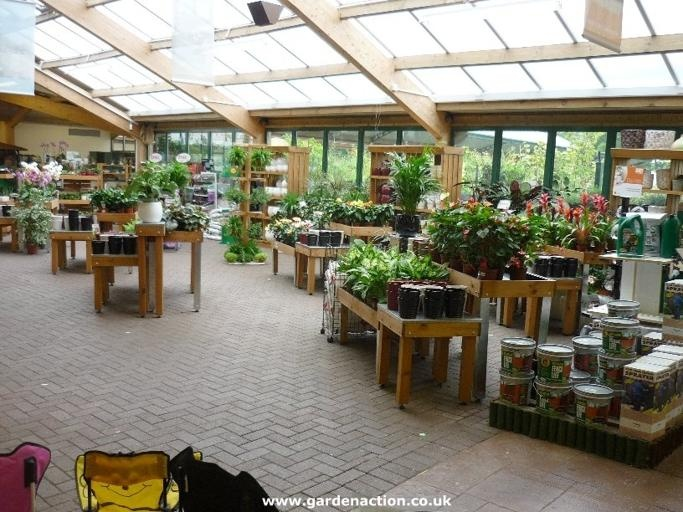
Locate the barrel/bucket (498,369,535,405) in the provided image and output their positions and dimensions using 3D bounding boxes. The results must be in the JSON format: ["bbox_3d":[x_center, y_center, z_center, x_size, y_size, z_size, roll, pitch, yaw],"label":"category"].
[{"bbox_3d":[1.420,1.084,4.340,0.364,0.214,0.303,1,0,-17],"label":"barrel/bucket"}]

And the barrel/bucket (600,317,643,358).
[{"bbox_3d":[2.237,0.663,4.288,0.379,0.254,0.360,-1,4,0],"label":"barrel/bucket"}]

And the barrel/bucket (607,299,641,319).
[{"bbox_3d":[2.501,0.463,4.654,0.247,0.174,0.215,-3,6,-25],"label":"barrel/bucket"}]

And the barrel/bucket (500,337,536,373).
[{"bbox_3d":[1.442,0.826,4.359,0.339,0.228,0.328,0,2,0],"label":"barrel/bucket"}]

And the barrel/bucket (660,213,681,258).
[{"bbox_3d":[3.095,-0.181,4.879,0.191,0.384,0.310,11,15,28],"label":"barrel/bucket"}]

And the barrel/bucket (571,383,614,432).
[{"bbox_3d":[1.836,1.148,3.888,0.375,0.190,0.305,1,6,9],"label":"barrel/bucket"}]

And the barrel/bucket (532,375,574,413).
[{"bbox_3d":[1.662,1.104,4.164,0.331,0.179,0.322,0,1,0],"label":"barrel/bucket"}]

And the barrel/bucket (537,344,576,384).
[{"bbox_3d":[1.643,0.868,4.180,0.382,0.231,0.308,1,6,5],"label":"barrel/bucket"}]
